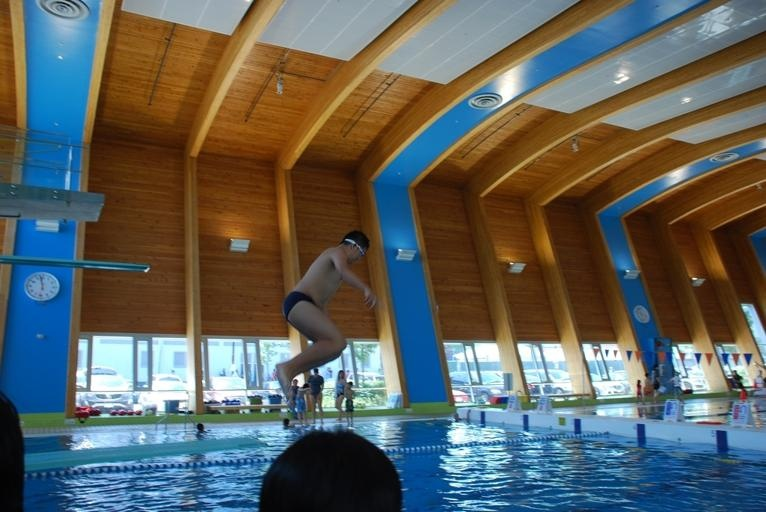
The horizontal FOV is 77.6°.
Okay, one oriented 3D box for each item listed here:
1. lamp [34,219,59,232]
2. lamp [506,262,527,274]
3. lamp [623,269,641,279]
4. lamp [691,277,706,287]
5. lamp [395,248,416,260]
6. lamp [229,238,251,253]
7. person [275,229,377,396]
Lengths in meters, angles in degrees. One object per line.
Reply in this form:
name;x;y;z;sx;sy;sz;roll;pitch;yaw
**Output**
lamp;-9.672;-0.864;13.695;0.567;0.211;0.444;-4;-3;13
lamp;6.105;0.582;22.043;0.693;0.200;0.705;0;-17;-1
lamp;12.486;0.947;23.790;0.809;0.226;0.517;-2;-17;-2
lamp;17.314;1.469;26.169;0.810;0.391;0.780;-6;-9;40
lamp;1.017;-0.019;19.237;0.954;0.486;0.387;3;-19;-27
lamp;-5.180;-0.374;17.385;0.739;0.450;0.624;-1;-15;-16
person;-0.571;0.520;4.863;1.036;1.748;0.712;-7;-18;-2
